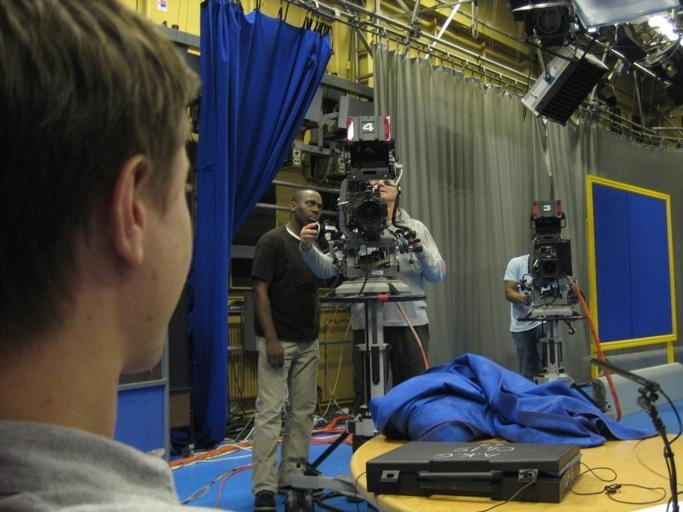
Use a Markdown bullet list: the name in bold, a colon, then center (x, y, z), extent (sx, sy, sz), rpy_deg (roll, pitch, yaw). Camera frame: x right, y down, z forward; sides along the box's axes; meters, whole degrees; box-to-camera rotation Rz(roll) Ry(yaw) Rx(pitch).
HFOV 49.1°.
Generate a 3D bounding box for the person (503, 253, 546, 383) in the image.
- **person**: center (1.374, 0.478, 5.296), extent (0.312, 1.018, 0.287), rpy_deg (-9, 18, -1)

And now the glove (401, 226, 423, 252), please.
- **glove**: center (0.271, -0.067, 2.856), extent (0.028, 0.084, 0.078), rpy_deg (-9, -1, -4)

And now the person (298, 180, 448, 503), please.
- **person**: center (0.167, 0.221, 3.338), extent (0.594, 1.208, 1.132), rpy_deg (-3, -13, 8)
